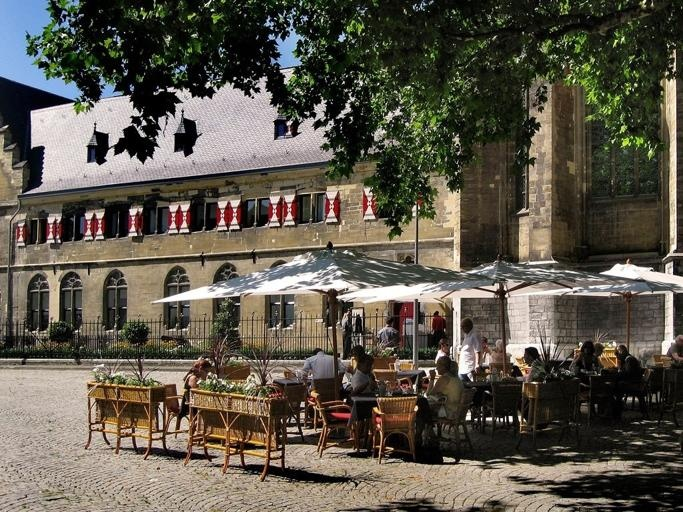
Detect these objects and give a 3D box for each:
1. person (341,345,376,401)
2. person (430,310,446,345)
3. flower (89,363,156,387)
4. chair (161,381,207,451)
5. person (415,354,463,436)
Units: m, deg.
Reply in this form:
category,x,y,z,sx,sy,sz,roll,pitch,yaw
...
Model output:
category,x,y,z,sx,sy,sz,roll,pitch,yaw
person,0.299,2.094,19.566,0.693,0.859,0.611,1,8,10
person,3.091,2.343,34.172,0.473,1.290,0.434,-10,28,-9
flower,-3.879,2.171,18.824,1.013,0.318,0.706,10,-6,17
chair,-3.058,2.864,19.670,0.664,0.733,0.644,15,-14,10
person,1.726,2.425,18.826,0.678,1.102,1.537,3,8,25
